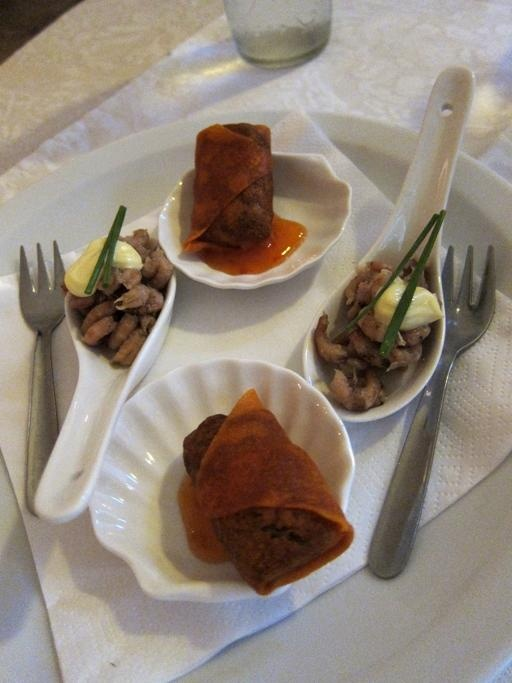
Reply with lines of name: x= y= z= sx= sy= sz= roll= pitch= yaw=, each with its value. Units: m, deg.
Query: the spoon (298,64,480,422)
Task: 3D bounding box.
spoon: x=0.285 y=-0.125 z=1.136 sx=0.231 sy=0.125 sz=0.673 roll=19 pitch=84 yaw=19

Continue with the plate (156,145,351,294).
plate: x=-0.022 y=-0.234 z=1.283 sx=0.386 sy=0.283 sz=0.354 roll=-18 pitch=38 yaw=-17

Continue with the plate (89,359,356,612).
plate: x=-0.117 y=0.202 z=0.935 sx=0.390 sy=0.096 sz=0.341 roll=-2 pitch=62 yaw=3

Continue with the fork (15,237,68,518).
fork: x=-0.380 y=0.037 z=1.173 sx=0.087 sy=0.056 sz=0.662 roll=-3 pitch=55 yaw=-10

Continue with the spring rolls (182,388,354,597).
spring rolls: x=0.001 y=0.201 z=0.893 sx=0.172 sy=0.084 sz=0.273 roll=-32 pitch=63 yaw=-13
